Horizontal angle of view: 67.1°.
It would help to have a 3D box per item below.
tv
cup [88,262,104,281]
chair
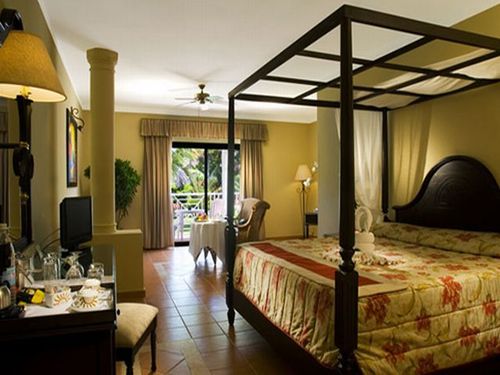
[{"bbox_3d":[-1.679,0.387,3.619,0.148,0.490,0.478,-1,3,-6],"label":"tv"},{"bbox_3d":[-1.086,0.577,2.637,0.100,0.114,0.103,3,5,0],"label":"cup"},{"bbox_3d":[-0.072,0.598,6.856,0.639,0.894,0.814,1,-4,-28],"label":"chair"}]
